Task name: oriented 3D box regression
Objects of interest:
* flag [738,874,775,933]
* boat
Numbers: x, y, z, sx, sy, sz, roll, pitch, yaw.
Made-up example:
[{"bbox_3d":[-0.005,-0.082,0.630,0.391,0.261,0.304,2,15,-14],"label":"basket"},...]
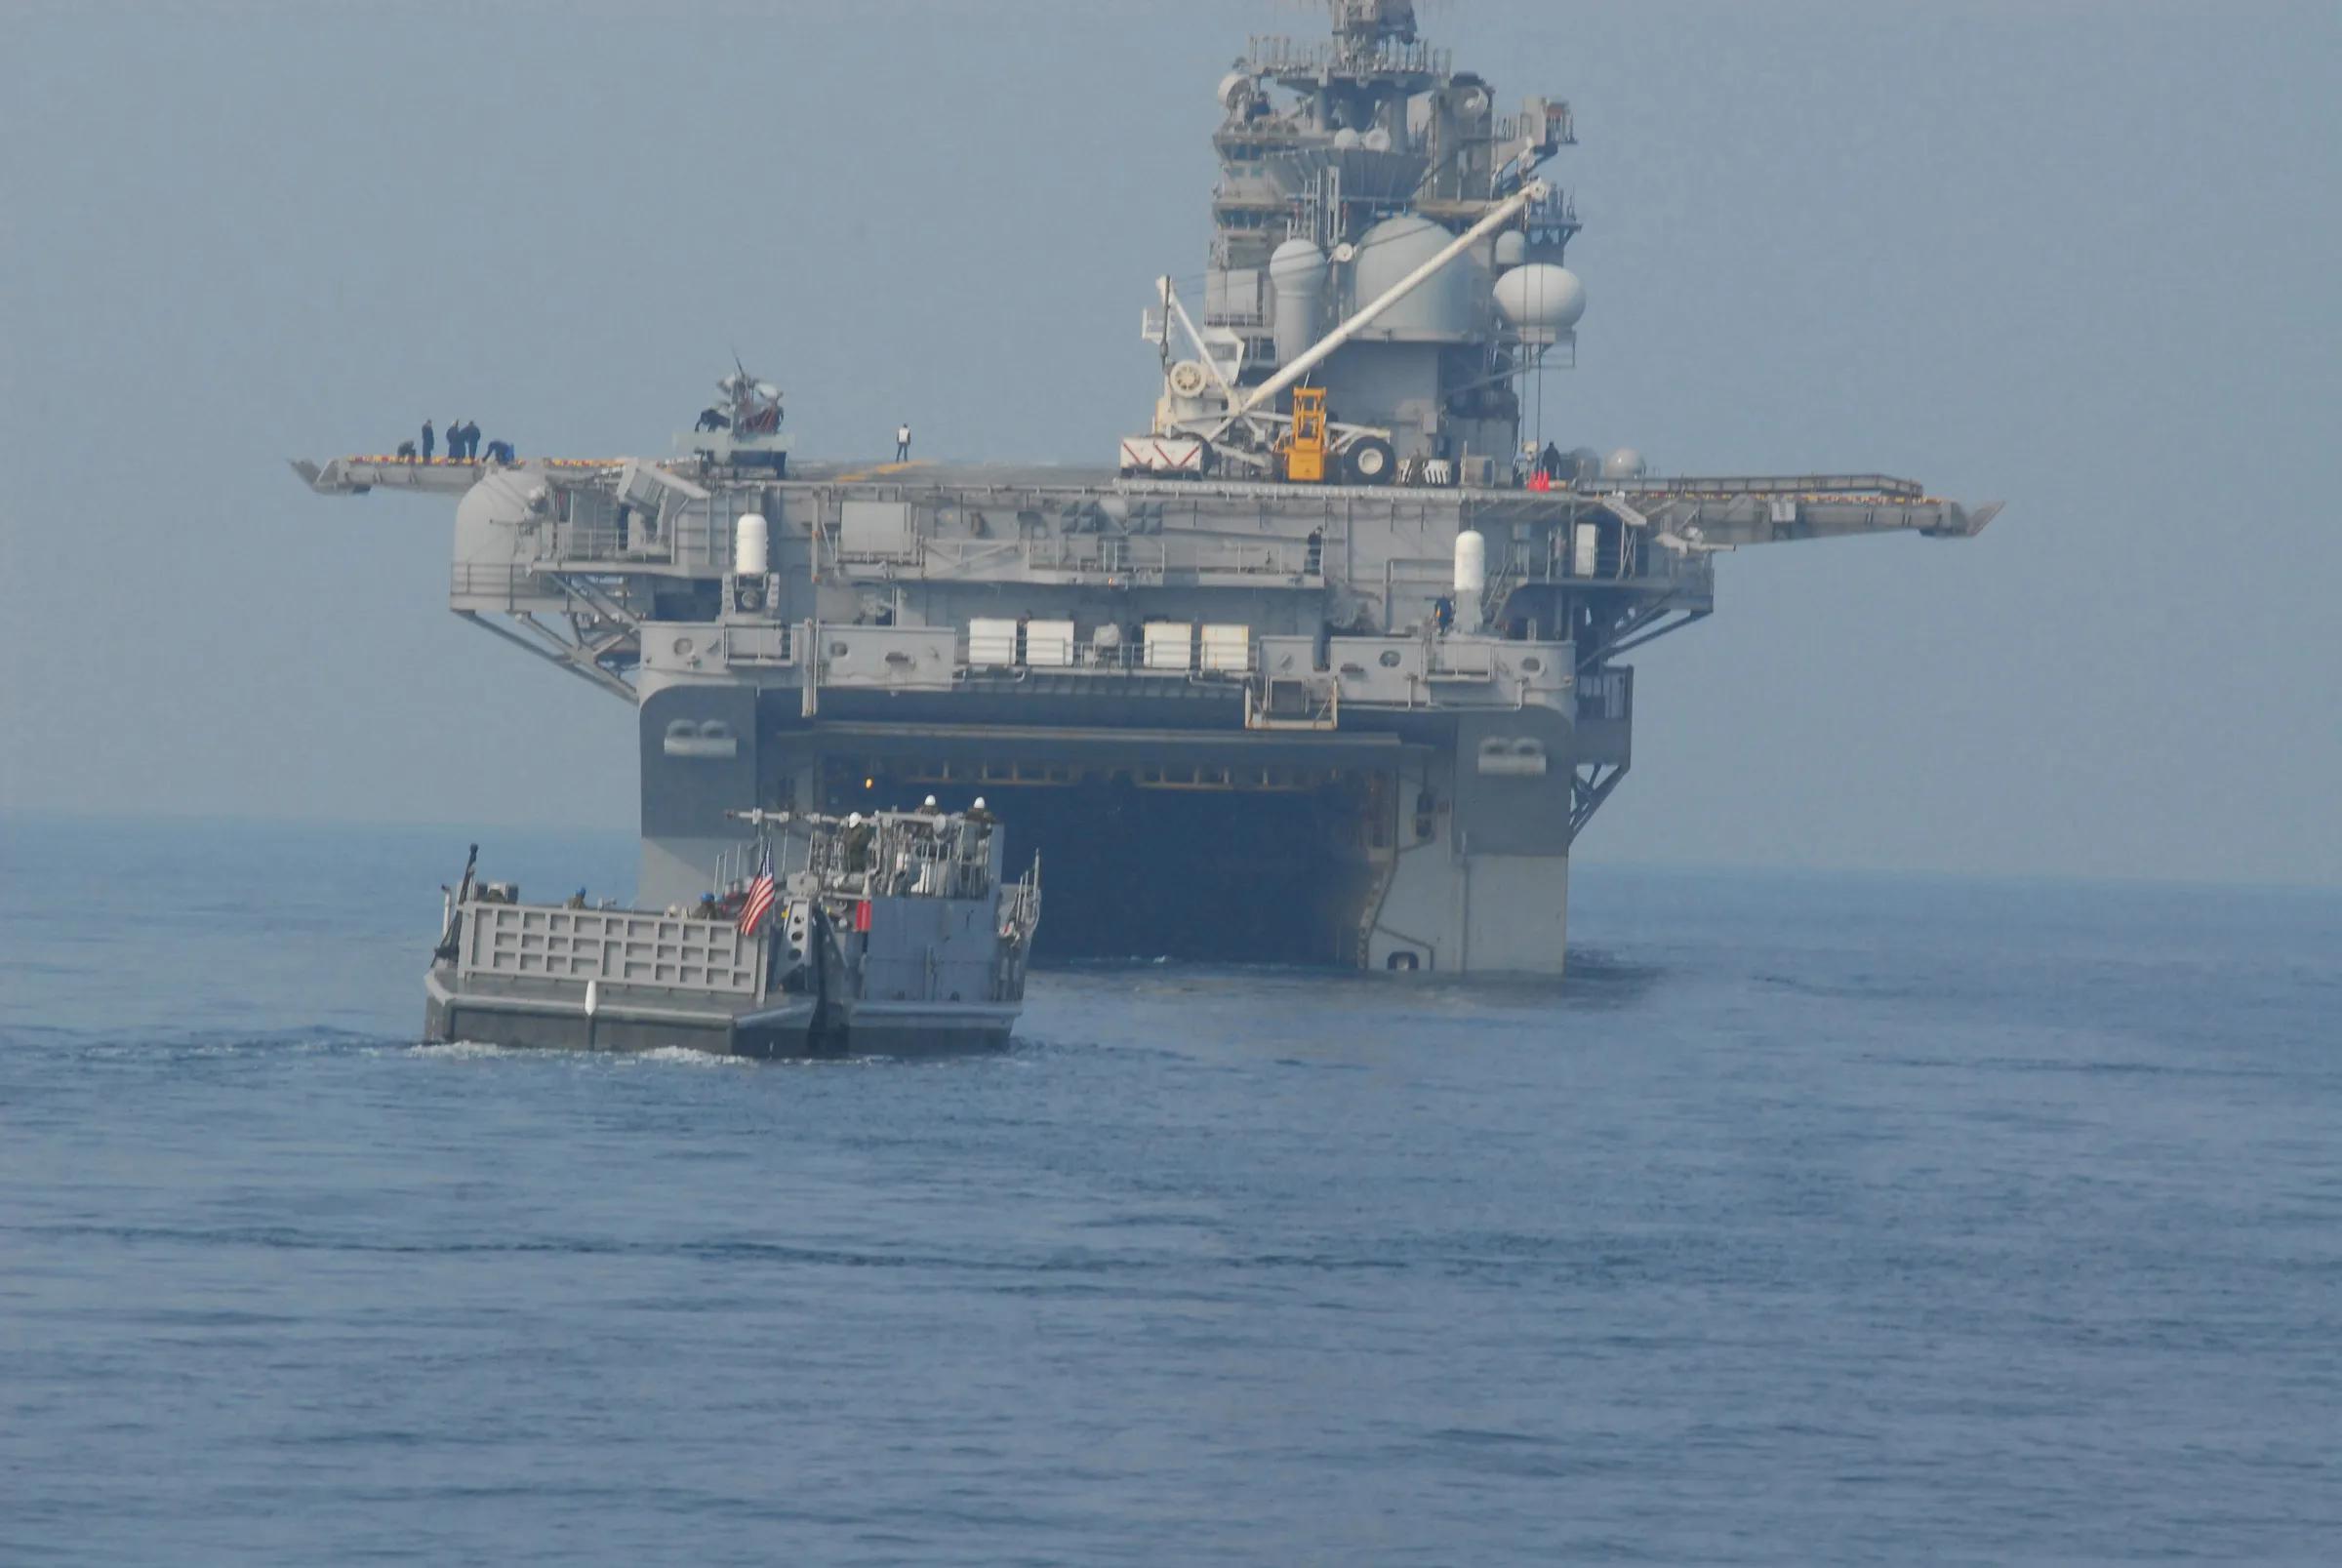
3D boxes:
[{"bbox_3d":[-10.126,3.039,146.813,0.795,1.204,0.947,3,1,-15],"label":"flag"},{"bbox_3d":[-10.261,3.648,151.184,6.876,5.533,14.719,4,1,44],"label":"boat"}]
